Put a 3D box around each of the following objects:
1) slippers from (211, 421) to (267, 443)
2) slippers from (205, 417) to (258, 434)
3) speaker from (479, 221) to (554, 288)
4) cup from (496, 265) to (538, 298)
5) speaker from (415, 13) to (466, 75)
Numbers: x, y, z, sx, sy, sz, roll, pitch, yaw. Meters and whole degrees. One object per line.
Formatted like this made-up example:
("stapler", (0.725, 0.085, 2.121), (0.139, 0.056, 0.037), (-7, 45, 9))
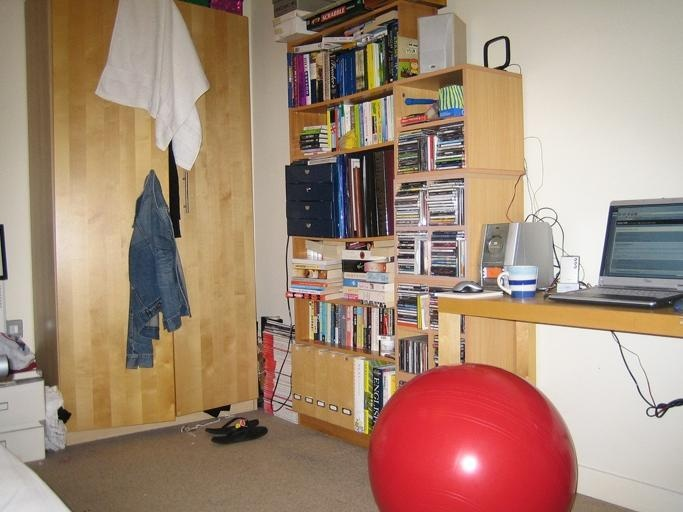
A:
("slippers", (-0.676, 1.213, 3.600), (0.289, 0.077, 0.141), (-6, 10, -29))
("slippers", (-0.763, 1.189, 3.678), (0.328, 0.089, 0.154), (-6, 1, -21))
("speaker", (0.889, 0.002, 2.829), (0.339, 0.349, 0.254), (0, -2, -37))
("cup", (0.813, 0.127, 2.490), (0.189, 0.141, 0.127), (-1, -3, 24))
("speaker", (0.509, -1.261, 3.105), (0.261, 0.306, 0.258), (-19, 38, -16))
